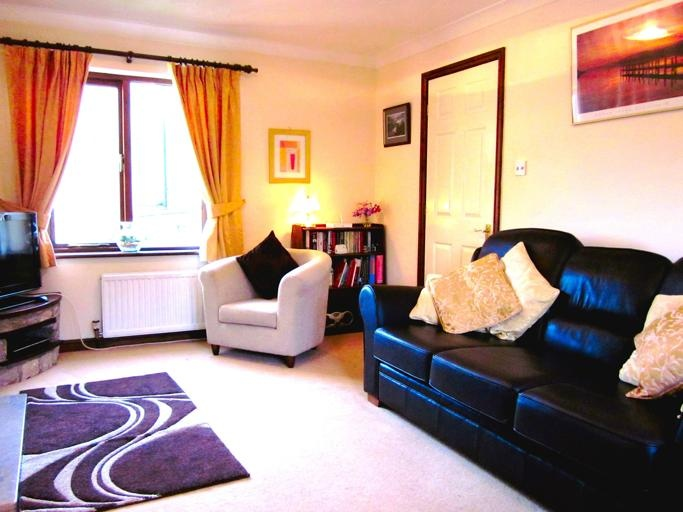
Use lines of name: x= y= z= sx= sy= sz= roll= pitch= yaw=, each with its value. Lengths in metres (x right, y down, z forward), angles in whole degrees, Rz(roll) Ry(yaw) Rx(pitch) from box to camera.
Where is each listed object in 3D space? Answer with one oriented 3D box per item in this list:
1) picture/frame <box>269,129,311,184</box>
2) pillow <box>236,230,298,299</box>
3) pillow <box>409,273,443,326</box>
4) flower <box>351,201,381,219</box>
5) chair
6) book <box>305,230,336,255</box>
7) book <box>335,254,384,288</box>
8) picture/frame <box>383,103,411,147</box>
picture/frame: x=-0.557 y=-1.048 z=5.322 sx=0.545 sy=0.620 sz=0.025 roll=-5 pitch=12 yaw=-25
pillow: x=-0.691 y=0.092 z=4.660 sx=0.162 sy=0.534 sz=0.539 roll=-18 pitch=21 yaw=50
pillow: x=0.588 y=0.320 z=3.623 sx=0.087 sy=0.302 sz=0.261 roll=5 pitch=12 yaw=-1
flower: x=0.298 y=-0.508 z=5.685 sx=0.212 sy=0.153 sz=0.216 roll=0 pitch=4 yaw=28
chair: x=-0.612 y=0.484 z=4.633 sx=1.118 sy=0.946 sz=0.918 roll=0 pitch=0 yaw=26
book: x=-0.226 y=-0.144 z=5.176 sx=0.233 sy=0.216 sz=0.081 roll=2 pitch=8 yaw=-11
book: x=0.160 y=0.145 z=5.307 sx=0.313 sy=0.291 sz=0.110 roll=3 pitch=-22 yaw=-23
picture/frame: x=0.593 y=-1.383 z=5.397 sx=0.038 sy=0.473 sz=0.484 roll=-2 pitch=7 yaw=-30
